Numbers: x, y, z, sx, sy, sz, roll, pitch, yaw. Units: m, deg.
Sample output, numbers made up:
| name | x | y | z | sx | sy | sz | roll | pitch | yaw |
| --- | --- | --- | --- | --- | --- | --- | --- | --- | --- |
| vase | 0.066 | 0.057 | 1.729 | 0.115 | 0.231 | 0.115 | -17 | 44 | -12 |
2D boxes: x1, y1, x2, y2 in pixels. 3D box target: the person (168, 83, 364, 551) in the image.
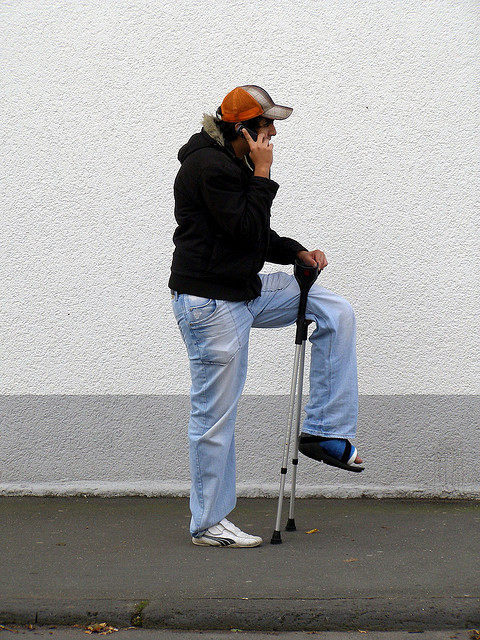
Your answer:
| name | x | y | z | sx | sy | sz | roll | pitch | yaw |
| --- | --- | --- | --- | --- | --- | --- | --- | --- | --- |
| person | 0.113 | 0.061 | 4.547 | 0.835 | 2.137 | 0.957 | -1 | 22 | -4 |

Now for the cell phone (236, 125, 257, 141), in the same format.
| name | x | y | z | sx | sy | sz | roll | pitch | yaw |
| --- | --- | --- | --- | --- | --- | --- | --- | --- | --- |
| cell phone | 0.039 | -0.810 | 4.417 | 0.103 | 0.042 | 0.024 | 30 | -18 | -38 |

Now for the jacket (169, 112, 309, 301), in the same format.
| name | x | y | z | sx | sy | sz | roll | pitch | yaw |
| --- | --- | --- | --- | --- | --- | --- | --- | --- | --- |
| jacket | -0.112 | -0.516 | 4.530 | 0.753 | 0.738 | 0.591 | 1 | 18 | -20 |
